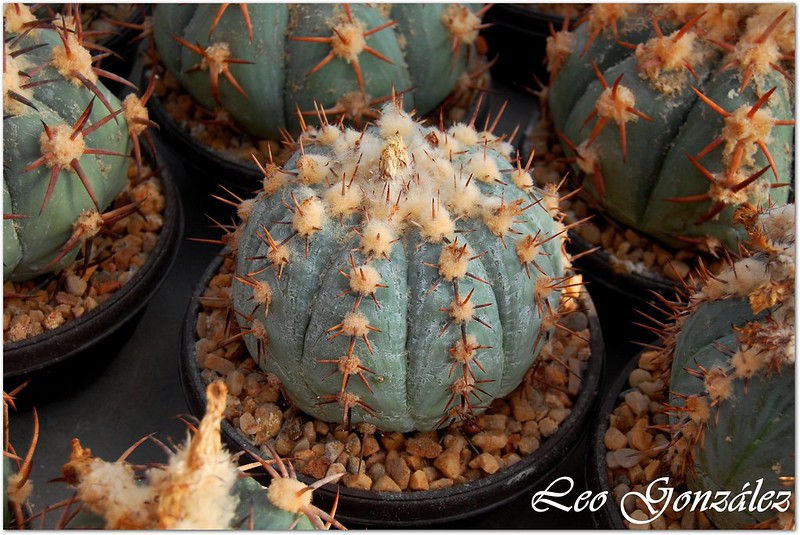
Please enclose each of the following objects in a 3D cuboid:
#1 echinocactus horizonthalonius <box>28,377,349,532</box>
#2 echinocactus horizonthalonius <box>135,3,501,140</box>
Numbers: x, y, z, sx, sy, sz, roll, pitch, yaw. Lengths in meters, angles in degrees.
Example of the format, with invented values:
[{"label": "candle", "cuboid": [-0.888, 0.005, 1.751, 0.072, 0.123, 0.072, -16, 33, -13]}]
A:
[{"label": "echinocactus horizonthalonius", "cuboid": [-0.451, 0.467, 1.703, 0.417, 0.168, 0.457, 13, 35, 6]}, {"label": "echinocactus horizonthalonius", "cuboid": [-0.263, -0.734, 2.508, 0.690, 0.391, 0.679, -17, 24, -36]}]
